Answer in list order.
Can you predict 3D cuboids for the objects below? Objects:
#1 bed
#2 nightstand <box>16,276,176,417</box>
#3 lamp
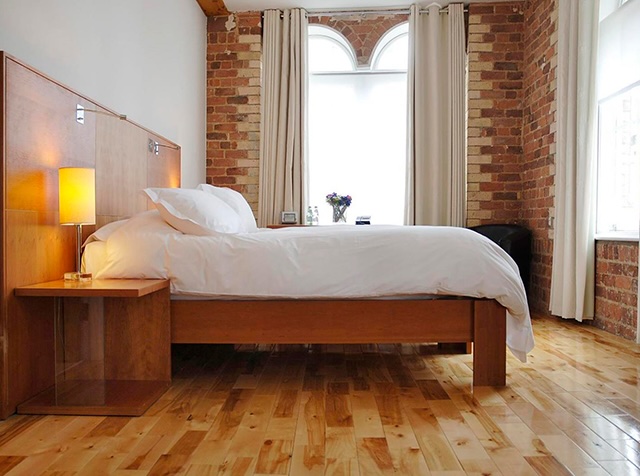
[{"bbox_3d":[-0.093,0.235,3.309,1.762,0.680,1.127,0,0,-2],"label":"bed"},{"bbox_3d":[-1.200,0.596,3.038,0.647,0.735,0.779,0,-1,-3],"label":"nightstand"},{"bbox_3d":[-1.361,-0.113,3.066,0.194,0.580,0.329,-6,12,-26],"label":"lamp"}]
